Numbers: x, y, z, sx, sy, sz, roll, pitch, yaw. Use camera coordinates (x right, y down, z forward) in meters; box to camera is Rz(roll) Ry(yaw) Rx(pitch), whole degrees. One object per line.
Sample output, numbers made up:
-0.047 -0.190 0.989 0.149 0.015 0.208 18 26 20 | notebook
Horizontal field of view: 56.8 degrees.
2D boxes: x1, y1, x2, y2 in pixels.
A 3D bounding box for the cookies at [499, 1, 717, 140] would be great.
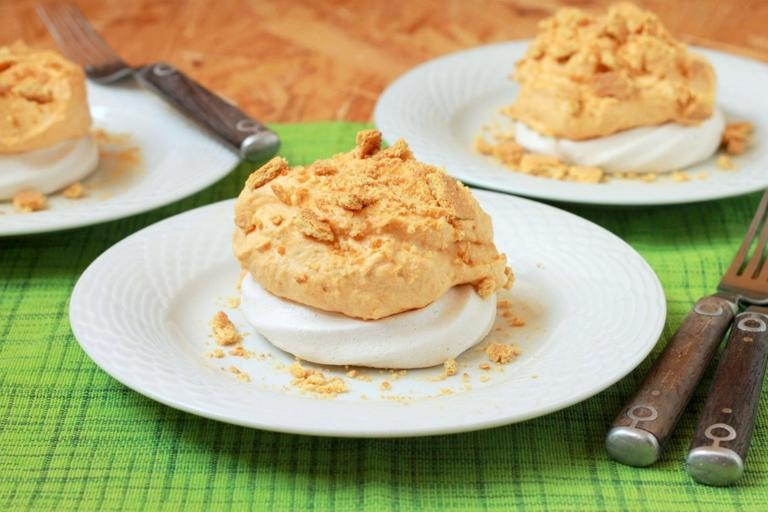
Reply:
0.468 -0.370 1.450 0.403 0.182 0.276 -4 59 -1 | cookies
